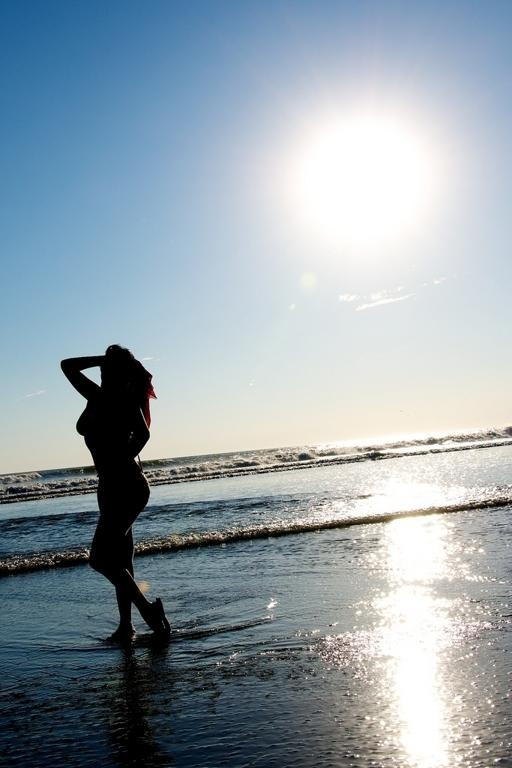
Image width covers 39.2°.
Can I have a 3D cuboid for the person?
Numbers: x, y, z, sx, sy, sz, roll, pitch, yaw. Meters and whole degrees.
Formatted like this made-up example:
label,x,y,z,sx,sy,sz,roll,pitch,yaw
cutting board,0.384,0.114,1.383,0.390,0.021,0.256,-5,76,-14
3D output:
label,x,y,z,sx,sy,sz,roll,pitch,yaw
person,-0.891,0.722,4.737,0.644,1.980,0.428,0,-3,-32
